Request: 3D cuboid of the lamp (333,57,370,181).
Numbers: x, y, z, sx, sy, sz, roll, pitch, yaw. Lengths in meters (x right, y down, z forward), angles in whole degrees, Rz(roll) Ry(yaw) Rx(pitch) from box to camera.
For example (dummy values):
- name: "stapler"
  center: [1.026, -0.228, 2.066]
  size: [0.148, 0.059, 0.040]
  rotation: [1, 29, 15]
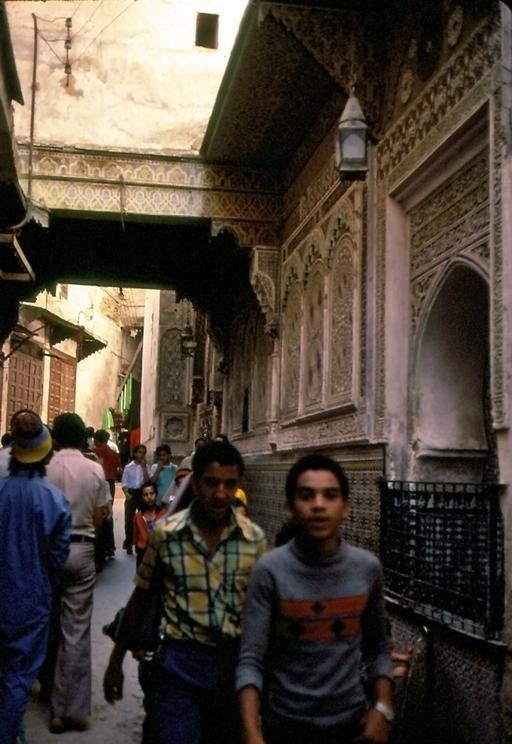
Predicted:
- name: "lamp"
  center: [0.810, -2.005, 5.663]
  size: [0.258, 0.676, 0.285]
  rotation: [2, -6, 10]

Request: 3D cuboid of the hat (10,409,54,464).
- name: "hat"
  center: [-1.087, 0.283, 3.140]
  size: [0.212, 0.129, 0.332]
  rotation: [-14, 24, -23]
